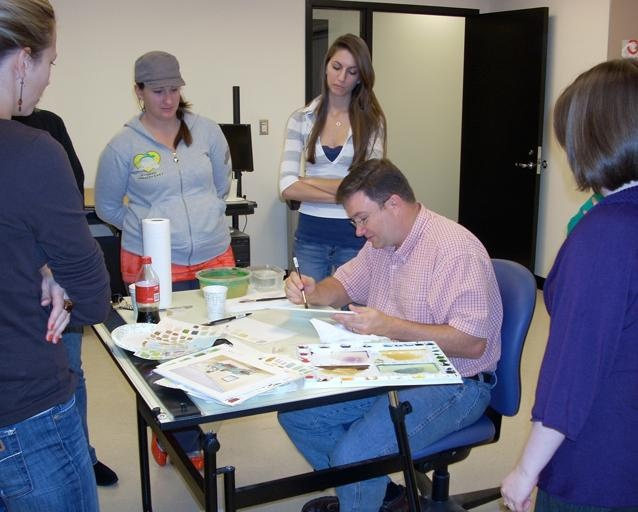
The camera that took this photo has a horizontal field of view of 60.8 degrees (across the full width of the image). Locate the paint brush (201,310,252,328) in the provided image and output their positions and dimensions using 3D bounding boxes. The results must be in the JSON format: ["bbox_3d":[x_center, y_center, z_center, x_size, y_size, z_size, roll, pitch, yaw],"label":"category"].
[{"bbox_3d":[-0.312,0.214,1.829,0.169,0.018,0.023,-11,28,-37],"label":"paint brush"}]

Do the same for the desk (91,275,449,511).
[{"bbox_3d":[-0.210,0.518,1.685,0.701,0.694,0.705,-7,15,-27],"label":"desk"}]

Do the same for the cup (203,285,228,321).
[{"bbox_3d":[-0.333,0.160,1.869,0.106,0.120,0.108,1,1,0],"label":"cup"}]

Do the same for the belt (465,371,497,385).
[{"bbox_3d":[0.563,0.409,1.841,0.060,0.034,0.085,3,-4,-16],"label":"belt"}]

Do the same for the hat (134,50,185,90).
[{"bbox_3d":[-0.693,-0.815,2.351,0.199,0.138,0.272,-15,32,-30],"label":"hat"}]

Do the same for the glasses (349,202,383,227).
[{"bbox_3d":[0.157,-0.138,1.936,0.100,0.095,0.082,20,-9,-9],"label":"glasses"}]
